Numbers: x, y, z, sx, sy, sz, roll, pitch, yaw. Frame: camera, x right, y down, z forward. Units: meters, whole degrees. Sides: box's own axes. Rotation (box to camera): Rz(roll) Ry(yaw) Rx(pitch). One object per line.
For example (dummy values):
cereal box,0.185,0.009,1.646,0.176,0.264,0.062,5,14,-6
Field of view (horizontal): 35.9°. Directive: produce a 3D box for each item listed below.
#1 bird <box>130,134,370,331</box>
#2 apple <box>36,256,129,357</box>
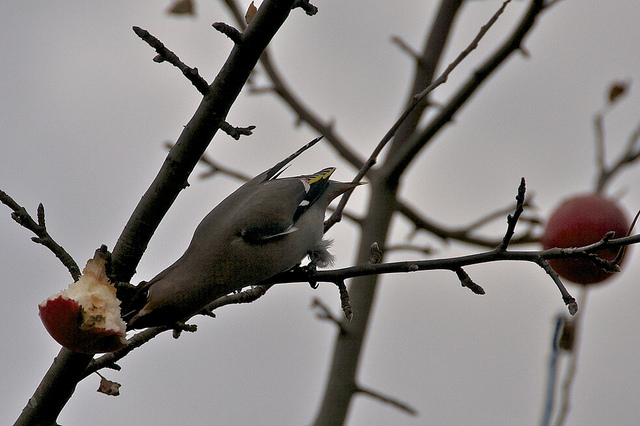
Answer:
bird,-0.335,0.146,4.249,0.470,1.217,0.526,-25,-90,55
apple,-0.819,0.349,3.545,0.206,0.278,0.311,-32,-69,27
